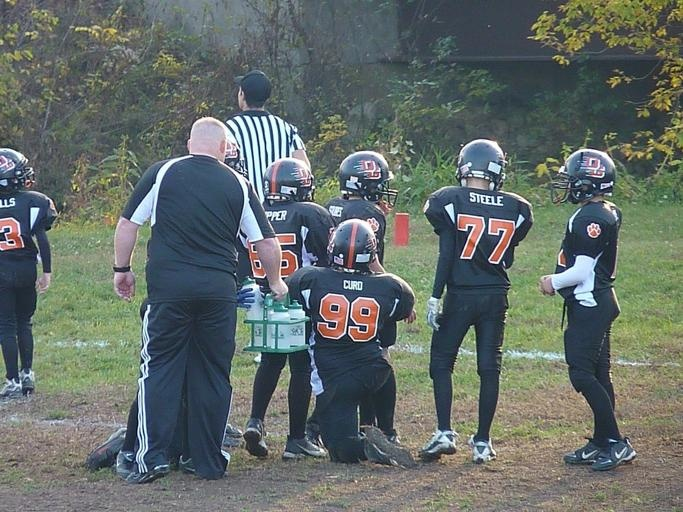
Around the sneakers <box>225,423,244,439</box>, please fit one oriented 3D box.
[{"bbox_3d":[-1.623,2.644,22.083,0.208,0.115,0.294,12,-27,36],"label":"sneakers"}]

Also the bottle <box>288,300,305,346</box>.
[{"bbox_3d":[-0.643,0.975,21.317,0.278,0.650,0.169,-2,3,-16],"label":"bottle"}]

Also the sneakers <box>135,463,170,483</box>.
[{"bbox_3d":[-2.723,3.113,20.886,0.562,0.187,0.219,-7,46,-11],"label":"sneakers"}]

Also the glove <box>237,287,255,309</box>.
[{"bbox_3d":[-1.384,0.604,21.313,0.312,0.255,0.501,2,-22,-6],"label":"glove"}]

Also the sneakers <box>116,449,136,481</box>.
[{"bbox_3d":[-3.111,2.986,21.037,0.199,0.211,0.480,14,25,-30],"label":"sneakers"}]

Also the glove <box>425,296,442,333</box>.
[{"bbox_3d":[1.382,0.844,21.612,0.209,0.516,0.256,0,3,4],"label":"glove"}]

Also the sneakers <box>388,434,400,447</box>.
[{"bbox_3d":[0.804,2.721,21.782,0.100,0.114,0.192,-10,-17,32],"label":"sneakers"}]

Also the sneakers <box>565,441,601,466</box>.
[{"bbox_3d":[3.562,2.899,21.430,0.625,0.257,0.240,0,6,-9],"label":"sneakers"}]
